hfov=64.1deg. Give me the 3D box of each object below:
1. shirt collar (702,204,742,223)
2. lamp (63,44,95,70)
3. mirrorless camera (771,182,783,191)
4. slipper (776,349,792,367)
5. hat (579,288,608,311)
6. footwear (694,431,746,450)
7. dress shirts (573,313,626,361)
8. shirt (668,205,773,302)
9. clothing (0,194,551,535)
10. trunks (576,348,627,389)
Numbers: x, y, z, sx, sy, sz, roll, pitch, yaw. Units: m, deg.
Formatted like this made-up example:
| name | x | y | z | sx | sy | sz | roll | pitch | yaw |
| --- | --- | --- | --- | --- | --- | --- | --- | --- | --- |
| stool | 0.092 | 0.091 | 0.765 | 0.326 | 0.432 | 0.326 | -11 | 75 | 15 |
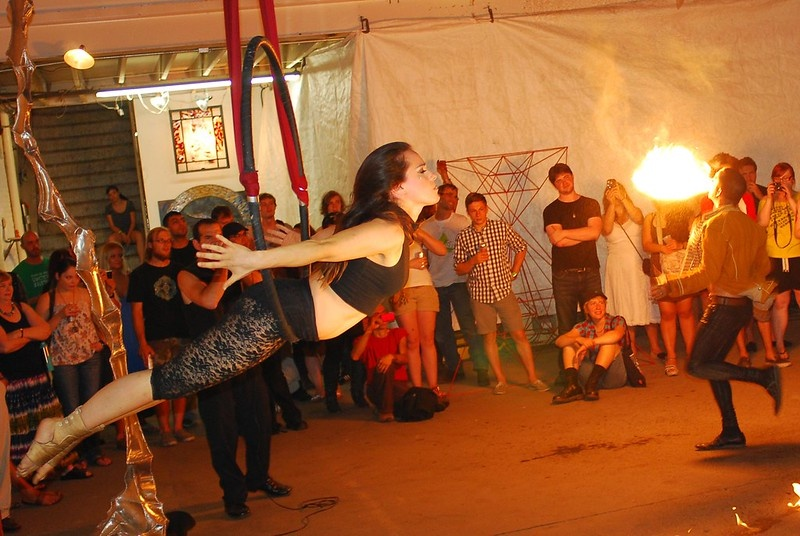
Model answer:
| name | x | y | z | sx | sy | sz | roll | pitch | yaw |
| --- | --- | --- | --- | --- | --- | --- | --- | --- | --- |
| shirt collar | 2.655 | -0.454 | 5.245 | 0.239 | 0.071 | 0.184 | -11 | 0 | 26 |
| lamp | -3.819 | -2.492 | 7.526 | 0.392 | 0.253 | 0.223 | -5 | 7 | 9 |
| mirrorless camera | 4.256 | -0.920 | 7.169 | 0.097 | 0.040 | 0.129 | -20 | 50 | -11 |
| slipper | 4.345 | 1.018 | 7.207 | 0.128 | 0.139 | 0.363 | -3 | 10 | 15 |
| hat | 2.152 | 0.303 | 7.061 | 0.238 | 0.156 | 0.322 | -10 | -30 | 7 |
| footwear | 2.657 | 1.427 | 5.261 | 0.417 | 0.147 | 0.146 | -1 | -4 | 6 |
| dress shirts | 2.220 | 0.695 | 6.944 | 0.444 | 0.369 | 0.587 | -23 | -7 | 37 |
| shirt | 2.810 | -0.113 | 5.576 | 1.064 | 0.581 | 0.463 | -6 | 10 | -31 |
| clothing | -1.077 | 0.463 | 3.882 | 2.335 | 1.014 | 1.349 | -13 | -3 | -10 |
| trunks | 2.302 | 1.066 | 7.060 | 0.471 | 0.445 | 0.198 | 10 | 1 | 2 |
